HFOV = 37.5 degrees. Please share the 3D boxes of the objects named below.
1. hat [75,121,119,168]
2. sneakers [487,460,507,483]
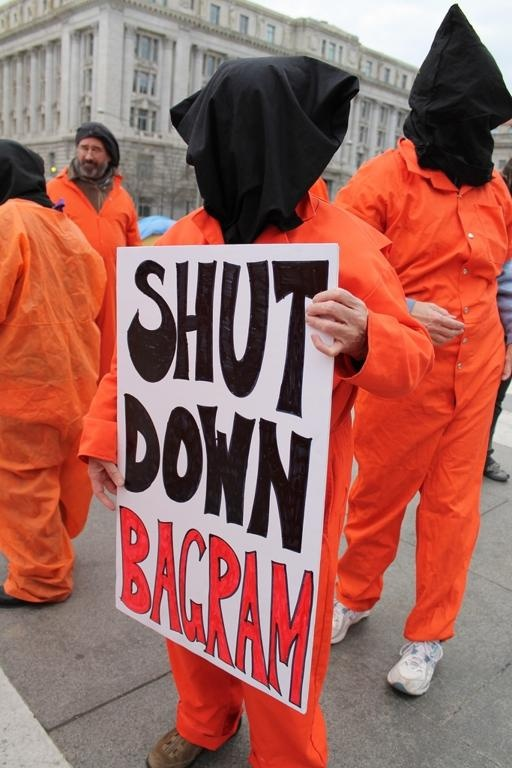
[{"bbox_3d":[-1.123,-1.714,5.334,0.299,0.350,0.208,0,4,-4],"label":"hat"},{"bbox_3d":[1.552,0.568,4.950,0.087,0.090,0.216,-4,9,-17],"label":"sneakers"}]
